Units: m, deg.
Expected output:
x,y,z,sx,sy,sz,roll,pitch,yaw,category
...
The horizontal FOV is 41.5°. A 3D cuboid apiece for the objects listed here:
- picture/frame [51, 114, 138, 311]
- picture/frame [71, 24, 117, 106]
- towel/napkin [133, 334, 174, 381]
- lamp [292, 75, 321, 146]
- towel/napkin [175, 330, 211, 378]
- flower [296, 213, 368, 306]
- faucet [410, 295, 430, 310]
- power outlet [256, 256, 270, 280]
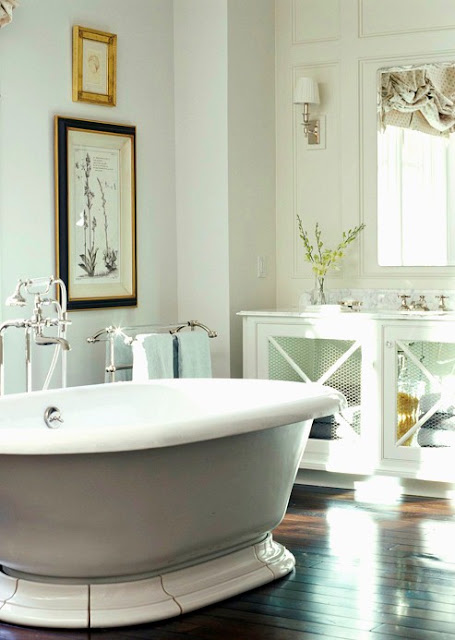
x,y,z,sx,sy,sz,roll,pitch,yaw,category
-0.598,-0.492,2.777,0.034,0.866,0.511,1,5,34,picture/frame
-0.601,-1.149,2.730,0.045,0.333,0.242,1,6,39,picture/frame
-0.324,0.164,2.623,0.154,0.209,0.062,-1,2,-39,towel/napkin
0.432,-1.136,3.297,0.140,0.324,0.139,-2,20,6,lamp
-0.142,0.166,2.810,0.107,0.225,0.200,0,5,28,towel/napkin
0.536,-0.313,3.290,0.289,0.356,0.196,2,11,20,flower
0.951,-0.081,2.975,0.046,0.063,0.160,2,6,6,faucet
0.194,-0.292,3.333,0.019,0.184,0.134,0,3,36,power outlet
